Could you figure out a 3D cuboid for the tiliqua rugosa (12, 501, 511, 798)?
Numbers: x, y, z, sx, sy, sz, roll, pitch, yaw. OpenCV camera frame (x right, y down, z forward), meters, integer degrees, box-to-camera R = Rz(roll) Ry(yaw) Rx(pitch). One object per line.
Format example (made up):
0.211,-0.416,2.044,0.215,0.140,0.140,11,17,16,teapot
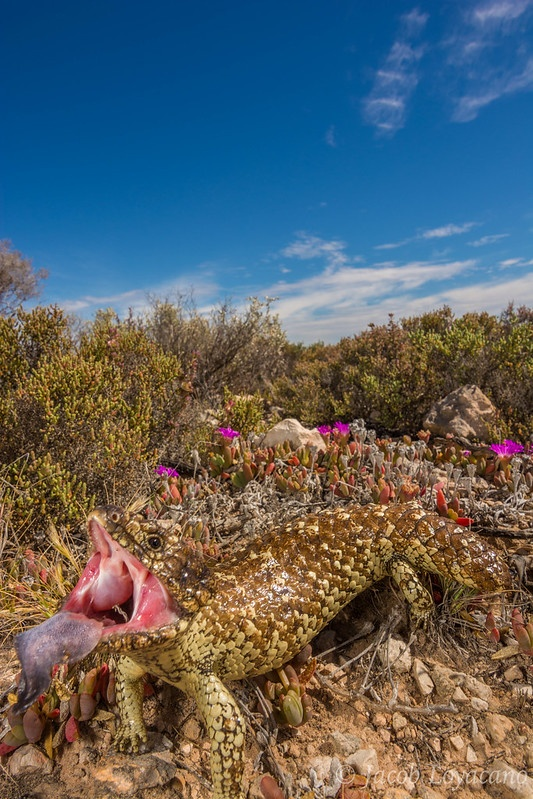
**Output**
0.078,0.838,3.103,2.705,1.237,1.058,-18,7,-34,tiliqua rugosa

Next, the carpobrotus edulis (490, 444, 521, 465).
1.956,0.427,4.469,0.227,0.160,0.270,3,8,42,carpobrotus edulis

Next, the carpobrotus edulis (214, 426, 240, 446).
-0.376,0.334,4.976,0.173,0.113,0.177,-12,-11,40,carpobrotus edulis
